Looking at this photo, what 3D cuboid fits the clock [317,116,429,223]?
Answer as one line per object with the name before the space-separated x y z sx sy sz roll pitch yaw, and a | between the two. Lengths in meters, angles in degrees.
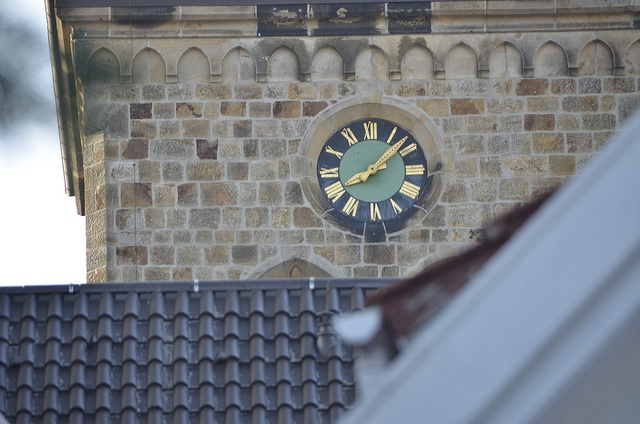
clock | 0.657 -0.500 29.080 1.187 0.123 1.158 17 74 3
